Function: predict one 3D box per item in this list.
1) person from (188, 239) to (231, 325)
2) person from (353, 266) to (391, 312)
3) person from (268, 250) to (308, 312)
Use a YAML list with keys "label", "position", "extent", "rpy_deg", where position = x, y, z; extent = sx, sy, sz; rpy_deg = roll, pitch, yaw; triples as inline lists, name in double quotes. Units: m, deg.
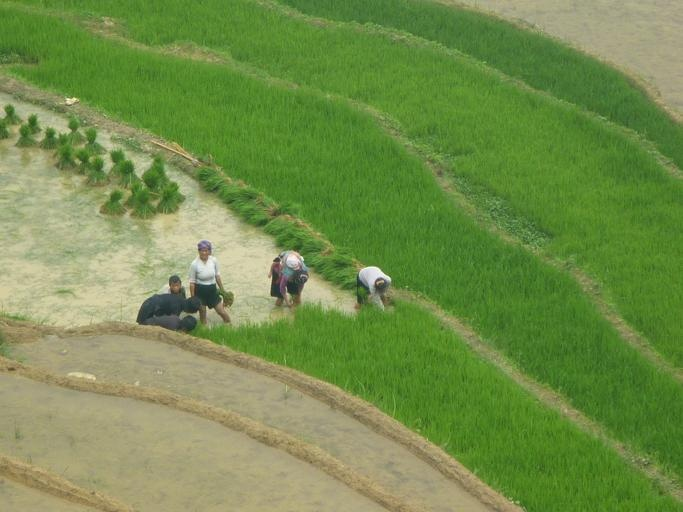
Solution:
- label: "person"
  position: [-2.877, 0.766, 30.673]
  extent: [0.899, 2.273, 0.595]
  rpy_deg: [-4, 26, -7]
- label: "person"
  position: [0.740, 0.698, 31.354]
  extent: [0.429, 0.907, 1.349]
  rpy_deg: [-12, 20, -19]
- label: "person"
  position: [-1.174, 0.476, 31.109]
  extent: [0.840, 1.784, 1.227]
  rpy_deg: [-3, 71, -7]
